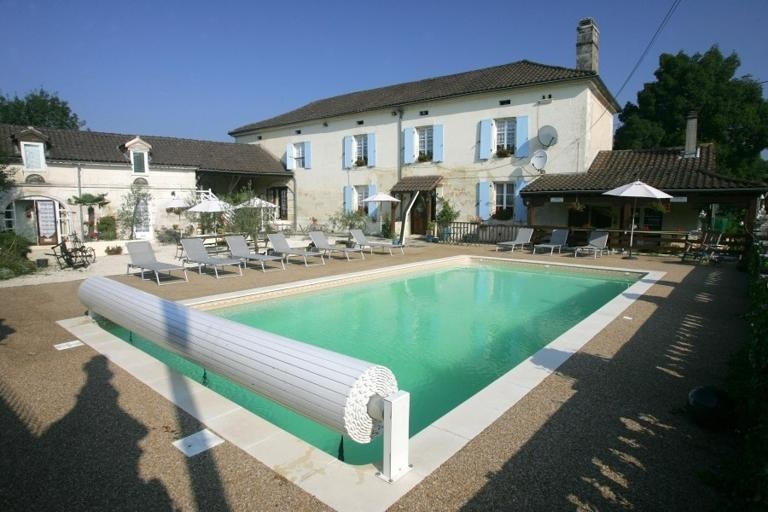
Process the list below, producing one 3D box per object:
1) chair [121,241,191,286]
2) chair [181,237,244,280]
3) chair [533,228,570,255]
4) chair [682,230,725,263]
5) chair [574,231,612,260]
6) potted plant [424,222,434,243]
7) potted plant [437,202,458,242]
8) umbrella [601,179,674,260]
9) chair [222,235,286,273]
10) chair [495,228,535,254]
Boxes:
[{"bbox_3d":[-6.363,0.136,13.024,2.505,1.052,1.005,9,11,42],"label":"chair"},{"bbox_3d":[-4.944,-0.002,13.515,2.344,0.932,1.025,10,12,43],"label":"chair"},{"bbox_3d":[6.420,-0.555,18.340,1.633,1.030,0.965,-8,10,-43],"label":"chair"},{"bbox_3d":[10.869,-0.344,16.341,1.103,0.924,1.657,4,8,34],"label":"chair"},{"bbox_3d":[7.540,-0.438,17.171,1.712,1.061,0.871,-5,5,-44],"label":"chair"},{"bbox_3d":[2.174,-1.177,22.517,0.407,0.869,0.724,1,7,9],"label":"potted plant"},{"bbox_3d":[2.927,-1.641,22.119,0.913,1.889,1.151,-1,7,-2],"label":"potted plant"},{"bbox_3d":[8.925,-1.360,16.970,1.499,2.726,3.891,3,7,28],"label":"umbrella"},{"bbox_3d":[-4.071,-0.122,14.663,2.535,1.011,0.944,9,12,44],"label":"chair"},{"bbox_3d":[5.086,-0.627,18.839,1.810,0.950,0.919,-6,8,-40],"label":"chair"}]
